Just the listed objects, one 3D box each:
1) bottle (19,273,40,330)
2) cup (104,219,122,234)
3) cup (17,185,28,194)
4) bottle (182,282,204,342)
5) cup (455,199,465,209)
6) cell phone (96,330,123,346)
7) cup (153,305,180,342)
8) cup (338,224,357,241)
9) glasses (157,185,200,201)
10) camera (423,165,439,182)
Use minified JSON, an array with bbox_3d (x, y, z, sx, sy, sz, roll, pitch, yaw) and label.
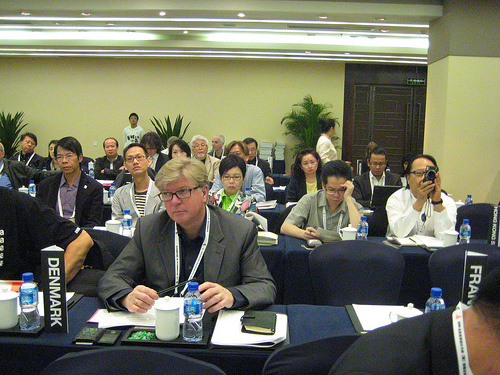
[{"bbox_3d":[-1.082,0.536,2.036,0.092,0.254,0.223,-4,8,-28],"label":"bottle"},{"bbox_3d":[-1.139,0.327,3.476,0.095,0.081,0.094,2,14,0],"label":"cup"},{"bbox_3d":[-2.473,0.019,4.521,0.099,0.095,0.100,0,-2,0],"label":"cup"},{"bbox_3d":[-0.275,0.568,1.994,0.098,0.260,0.213,-1,7,-8],"label":"bottle"},{"bbox_3d":[2.537,0.200,5.045,0.066,0.075,0.068,-2,9,0],"label":"cup"},{"bbox_3d":[-0.653,0.695,1.938,0.085,0.033,0.100,1,7,8],"label":"cell phone"},{"bbox_3d":[-0.380,0.621,1.923,0.145,0.144,0.145,0,-3,0],"label":"cup"},{"bbox_3d":[0.750,0.349,3.266,0.152,0.141,0.121,-1,3,24],"label":"cup"},{"bbox_3d":[-0.409,0.035,2.320,0.257,0.084,0.108,1,7,13],"label":"glasses"},{"bbox_3d":[1.465,-0.108,3.376,0.089,0.120,0.047,0,4,12],"label":"camera"}]
